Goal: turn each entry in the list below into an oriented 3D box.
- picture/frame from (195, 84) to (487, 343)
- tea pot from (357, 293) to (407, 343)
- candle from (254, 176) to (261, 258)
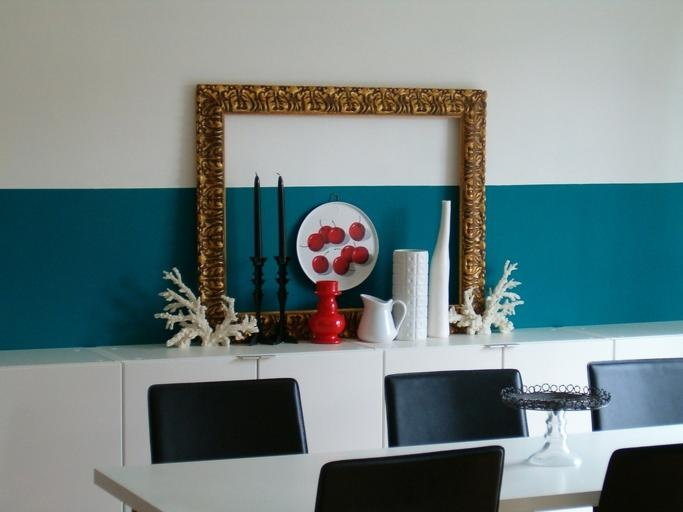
[{"bbox_3d":[-0.063,-0.212,3.409,1.183,1.139,0.058,-1,1,-17],"label":"picture/frame"},{"bbox_3d":[0.180,0.319,3.320,0.253,0.256,0.178,4,-4,-21],"label":"tea pot"},{"bbox_3d":[-0.408,-0.185,3.296,0.036,0.397,0.175,0,0,-7],"label":"candle"}]
